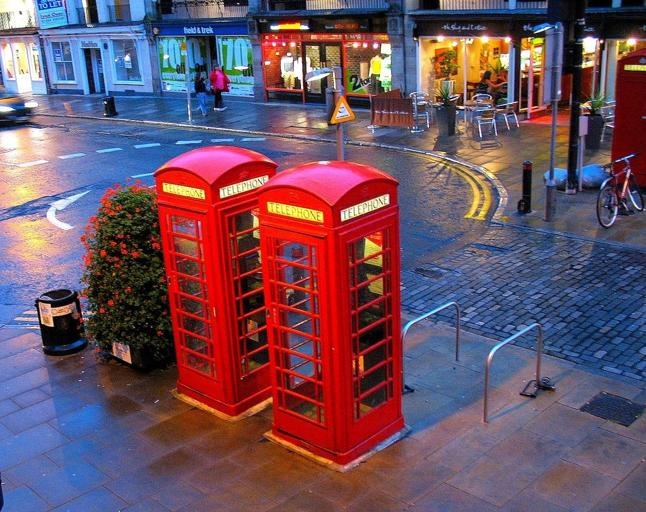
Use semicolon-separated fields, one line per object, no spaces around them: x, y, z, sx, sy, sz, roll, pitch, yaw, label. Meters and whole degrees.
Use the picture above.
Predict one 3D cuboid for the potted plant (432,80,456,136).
4.708;-5.571;20.673;0.741;1.928;1.489;-1;19;12;potted plant
